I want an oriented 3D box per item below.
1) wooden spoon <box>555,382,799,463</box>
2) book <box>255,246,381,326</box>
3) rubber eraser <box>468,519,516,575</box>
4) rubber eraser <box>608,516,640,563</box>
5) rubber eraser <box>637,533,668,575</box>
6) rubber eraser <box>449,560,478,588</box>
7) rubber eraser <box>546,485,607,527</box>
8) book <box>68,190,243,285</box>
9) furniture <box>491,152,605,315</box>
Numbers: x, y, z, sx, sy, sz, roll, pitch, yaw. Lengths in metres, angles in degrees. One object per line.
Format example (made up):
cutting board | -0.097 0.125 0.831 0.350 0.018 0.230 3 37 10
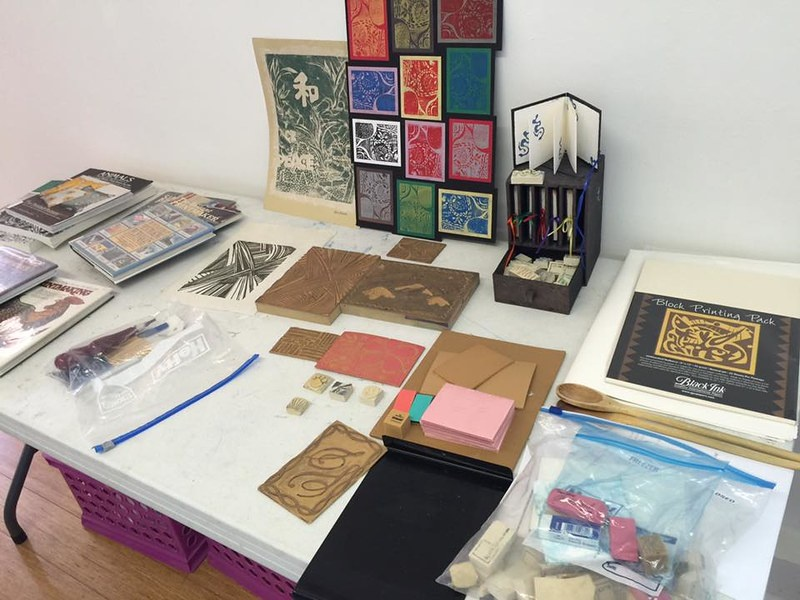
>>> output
wooden spoon | 0.493 0.218 0.987 0.352 0.027 0.040 15 50 19
book | -0.208 -0.039 1.398 0.187 0.034 0.247 8 41 20
rubber eraser | 0.143 0.377 0.866 0.073 0.034 0.042 -38 43 -26
rubber eraser | 0.328 0.348 0.831 0.038 0.066 0.011 0 12 38
rubber eraser | 0.362 0.361 0.813 0.043 0.041 0.041 -1 40 27
rubber eraser | 0.092 0.407 0.835 0.040 0.028 0.032 -12 27 11
rubber eraser | 0.276 0.319 0.871 0.072 0.014 0.038 13 42 31
book | -0.736 -0.203 1.621 0.329 0.046 0.314 22 48 36
furniture | 0.353 -0.195 1.366 0.233 0.340 0.390 12 45 23
